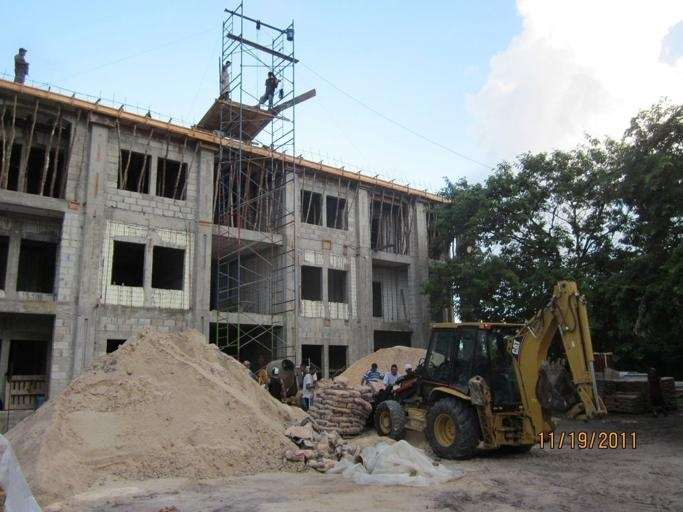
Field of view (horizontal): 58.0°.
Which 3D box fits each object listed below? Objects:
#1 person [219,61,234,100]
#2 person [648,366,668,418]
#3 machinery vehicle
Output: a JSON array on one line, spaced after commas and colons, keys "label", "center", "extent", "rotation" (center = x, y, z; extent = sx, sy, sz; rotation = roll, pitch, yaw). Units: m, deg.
[{"label": "person", "center": [-6.263, -9.449, 33.004], "extent": [0.517, 2.359, 0.930], "rotation": [1, -12, -16]}, {"label": "person", "center": [12.435, 5.350, 24.332], "extent": [0.474, 1.840, 0.725], "rotation": [-8, -13, 26]}, {"label": "machinery vehicle", "center": [3.876, 3.432, 17.674], "extent": [2.849, 4.799, 7.435], "rotation": [11, -13, -34]}]
